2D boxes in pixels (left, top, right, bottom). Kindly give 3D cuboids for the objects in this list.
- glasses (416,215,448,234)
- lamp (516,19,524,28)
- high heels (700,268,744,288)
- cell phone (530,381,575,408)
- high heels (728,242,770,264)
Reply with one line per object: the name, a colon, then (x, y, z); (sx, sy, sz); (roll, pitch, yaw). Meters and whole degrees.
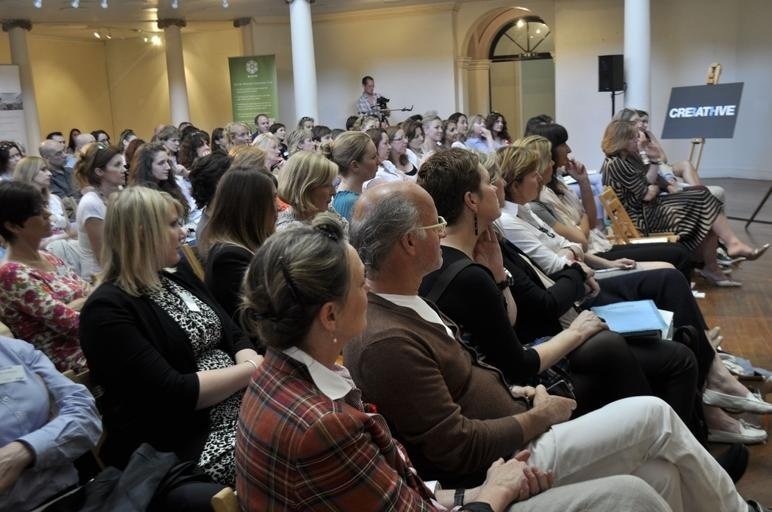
glasses: (0.182, -0.111, 1.798); (0.078, 0.026, 0.080); (-7, 11, -6)
lamp: (3.894, -6.720, 14.029); (0.159, 0.193, 0.168); (-10, 39, -1)
high heels: (3.601, 0.253, 5.299); (0.472, 0.211, 0.151); (11, 16, 39)
cell phone: (0.650, 0.567, 1.892); (0.131, 0.070, 0.103); (11, 10, 0)
high heels: (4.071, -0.019, 5.456); (0.361, 0.172, 0.118); (-28, -7, 12)
